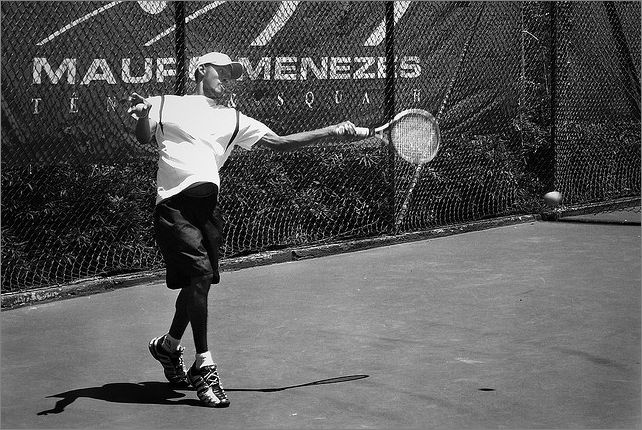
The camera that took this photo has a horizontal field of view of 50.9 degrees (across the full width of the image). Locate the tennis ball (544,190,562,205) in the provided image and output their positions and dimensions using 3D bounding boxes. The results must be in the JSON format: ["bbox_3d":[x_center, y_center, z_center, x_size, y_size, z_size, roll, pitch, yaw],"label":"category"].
[{"bbox_3d":[3.778,-0.266,11.053,0.233,0.197,0.182,11,25,33],"label":"tennis ball"}]

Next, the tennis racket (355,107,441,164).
[{"bbox_3d":[0.771,-0.824,6.733,0.126,0.532,1.348,13,5,-29],"label":"tennis racket"}]

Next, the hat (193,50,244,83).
[{"bbox_3d":[-0.795,-1.147,5.123,0.305,0.185,0.219,-19,-4,12],"label":"hat"}]

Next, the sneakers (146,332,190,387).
[{"bbox_3d":[-1.205,1.166,5.309,0.190,0.408,0.141,-38,-4,21],"label":"sneakers"}]
